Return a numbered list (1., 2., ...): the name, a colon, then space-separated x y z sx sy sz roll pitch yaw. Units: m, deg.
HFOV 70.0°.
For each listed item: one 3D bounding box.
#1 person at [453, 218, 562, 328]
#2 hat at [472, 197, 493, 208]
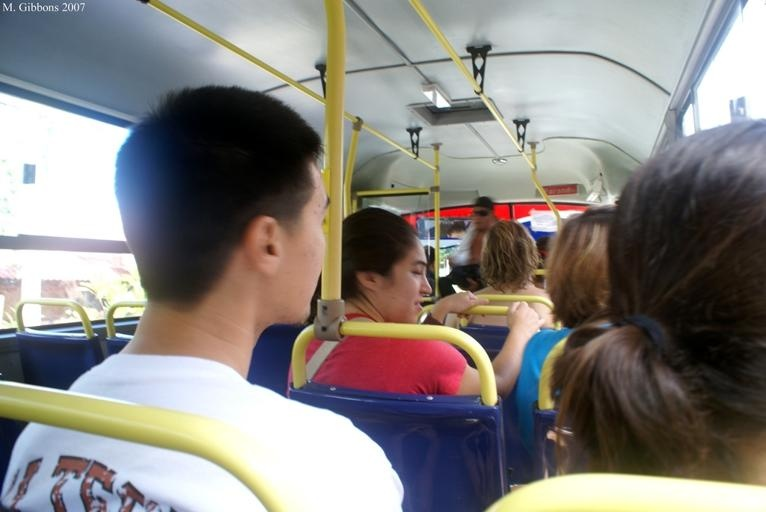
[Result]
1. person: 0.718 0.095 3.254 0.674 0.863 0.429 1 14 8
2. hat: 0.944 -0.504 5.193 0.183 0.122 0.169 0 -2 35
